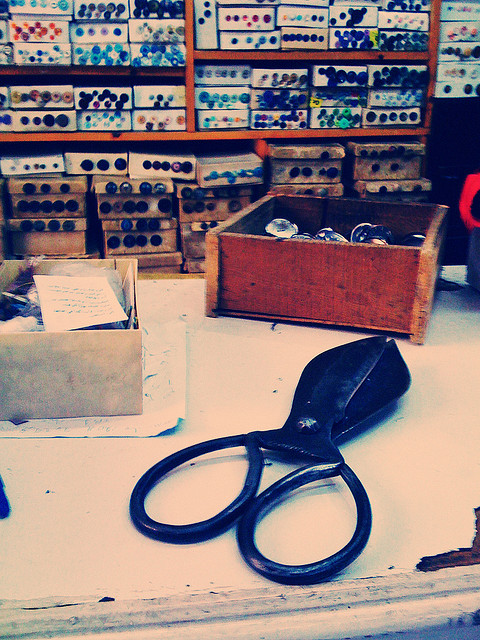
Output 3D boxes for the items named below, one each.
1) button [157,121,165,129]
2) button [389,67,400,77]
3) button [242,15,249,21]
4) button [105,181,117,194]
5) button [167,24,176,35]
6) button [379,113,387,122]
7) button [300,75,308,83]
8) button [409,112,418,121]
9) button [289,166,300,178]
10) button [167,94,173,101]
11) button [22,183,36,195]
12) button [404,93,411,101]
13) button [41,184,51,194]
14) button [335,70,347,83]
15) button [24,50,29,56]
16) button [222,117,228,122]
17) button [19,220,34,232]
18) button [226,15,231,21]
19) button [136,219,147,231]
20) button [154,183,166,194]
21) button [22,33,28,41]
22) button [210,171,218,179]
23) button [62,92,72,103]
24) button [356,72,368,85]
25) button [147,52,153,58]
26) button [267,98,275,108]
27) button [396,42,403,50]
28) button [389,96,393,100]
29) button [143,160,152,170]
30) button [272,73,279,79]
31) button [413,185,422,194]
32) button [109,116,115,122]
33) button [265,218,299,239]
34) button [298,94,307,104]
[{"bbox_3d":[-0.232,-0.580,1.791,0.019,0.017,0.004,1,54,-15],"label":"button"},{"bbox_3d":[0.473,-0.761,1.842,0.026,0.018,0.024,-3,20,0],"label":"button"},{"bbox_3d":[0.018,-0.867,1.727,0.017,0.014,0.004,-12,26,-23],"label":"button"},{"bbox_3d":[-0.367,-0.382,1.732,0.032,0.030,0.009,-6,25,-11],"label":"button"},{"bbox_3d":[-0.191,-0.821,1.702,0.023,0.025,0.005,-14,27,-27],"label":"button"},{"bbox_3d":[0.454,-0.642,1.914,0.029,0.024,0.006,-14,27,-27],"label":"button"},{"bbox_3d":[0.190,-0.719,1.794,0.027,0.021,0.011,-16,28,-30],"label":"button"},{"bbox_3d":[0.556,-0.655,1.937,0.028,0.025,0.006,-9,25,-17],"label":"button"},{"bbox_3d":[0.171,-0.461,1.878,0.034,0.030,0.008,1,33,-30],"label":"button"},{"bbox_3d":[-0.203,-0.651,1.758,0.016,0.009,0.015,-6,28,21],"label":"button"},{"bbox_3d":[-0.595,-0.373,1.710,0.037,0.035,0.017,-10,25,-19],"label":"button"},{"bbox_3d":[0.528,-0.706,1.905,0.023,0.022,0.001,-7,25,-12],"label":"button"},{"bbox_3d":[-0.552,-0.375,1.719,0.021,0.015,0.021,9,60,0],"label":"button"},{"bbox_3d":[0.304,-0.732,1.808,0.037,0.035,0.007,-17,28,-32],"label":"button"},{"bbox_3d":[-0.585,-0.739,1.662,0.013,0.013,0.002,-6,25,-11],"label":"button"},{"bbox_3d":[-0.044,-0.606,1.821,0.015,0.013,0.003,-11,26,-22],"label":"button"},{"bbox_3d":[-0.611,-0.273,1.736,0.030,0.022,0.030,22,45,16],"label":"button"},{"bbox_3d":[-0.033,-0.865,1.724,0.012,0.011,0.003,-3,12,-2],"label":"button"},{"bbox_3d":[-0.292,-0.288,1.798,0.027,0.025,0.006,-5,15,-11],"label":"button"},{"bbox_3d":[-0.232,-0.386,1.761,0.026,0.029,0.024,-8,52,1],"label":"button"},{"bbox_3d":[-0.581,-0.772,1.638,0.013,0.012,0.004,-3,31,-13],"label":"button"},{"bbox_3d":[-0.074,-0.422,1.754,0.019,0.010,0.019,-1,18,37],"label":"button"},{"bbox_3d":[-0.488,-0.632,1.709,0.024,0.027,0.009,-10,25,-18],"label":"button"},{"bbox_3d":[0.370,-0.733,1.828,0.038,0.034,0.009,-9,25,-16],"label":"button"},{"bbox_3d":[-0.256,-0.758,1.721,0.020,0.013,0.010,2,31,3],"label":"button"},{"bbox_3d":[0.094,-0.653,1.811,0.020,0.011,0.018,-1,-2,0],"label":"button"},{"bbox_3d":[0.485,-0.837,1.838,0.021,0.019,0.004,-7,25,-13],"label":"button"},{"bbox_3d":[0.473,-0.698,1.892,0.012,0.009,0.002,-9,25,-17],"label":"button"},{"bbox_3d":[-0.271,-0.460,1.780,0.026,0.028,0.005,5,25,14],"label":"button"},{"bbox_3d":[0.105,-0.717,1.769,0.019,0.015,0.005,-10,26,-20],"label":"button"},{"bbox_3d":[0.568,-0.418,1.926,0.021,0.020,0.012,-2,64,-3],"label":"button"},{"bbox_3d":[-0.372,-0.590,1.761,0.011,0.012,0.010,-44,66,-11],"label":"button"},{"bbox_3d":[0.079,-0.164,1.049,0.054,0.016,0.046,3,34,-6],"label":"button"},{"bbox_3d":[0.189,-0.673,1.834,0.028,0.027,0.005,-16,28,-31],"label":"button"}]
